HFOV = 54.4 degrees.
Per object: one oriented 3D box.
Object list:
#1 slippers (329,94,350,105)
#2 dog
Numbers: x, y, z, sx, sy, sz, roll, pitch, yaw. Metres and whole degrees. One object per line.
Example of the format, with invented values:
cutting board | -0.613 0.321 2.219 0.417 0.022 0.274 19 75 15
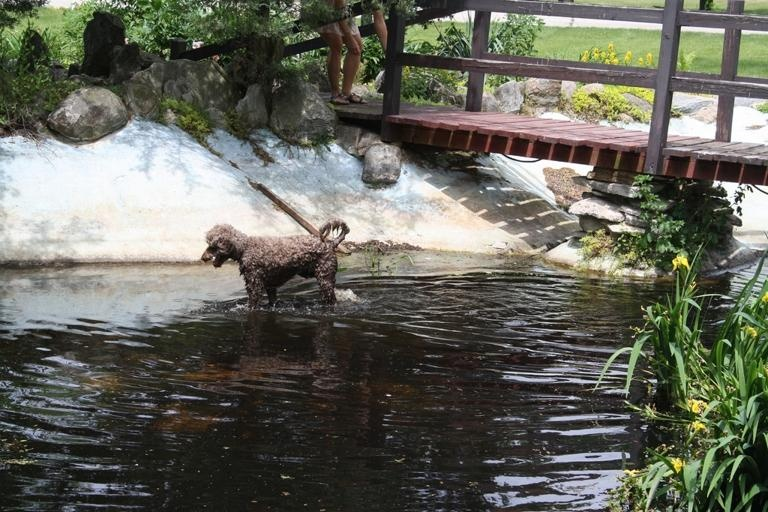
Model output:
slippers | -0.949 -3.312 15.706 0.379 0.193 0.609 -2 9 -8
dog | -1.398 0.134 10.113 2.087 0.972 0.608 -1 7 13
